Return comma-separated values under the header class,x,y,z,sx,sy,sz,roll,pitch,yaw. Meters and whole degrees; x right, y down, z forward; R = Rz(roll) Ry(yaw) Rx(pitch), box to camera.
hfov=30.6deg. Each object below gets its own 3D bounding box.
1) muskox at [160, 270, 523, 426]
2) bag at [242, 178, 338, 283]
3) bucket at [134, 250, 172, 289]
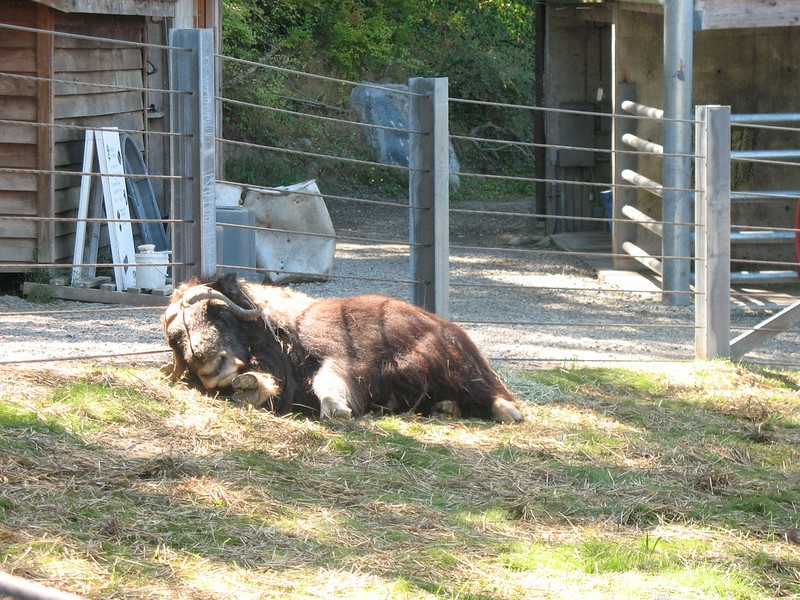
class,x,y,z,sx,sy,sz,roll,pitch,yaw
muskox,-0.349,0.289,8.163,1.846,0.677,0.831,8,-37,-10
bag,-0.851,-0.657,12.653,1.057,0.901,0.332,-9,-4,-23
bucket,-1.933,-0.226,11.383,0.309,0.298,0.323,-1,-7,0
